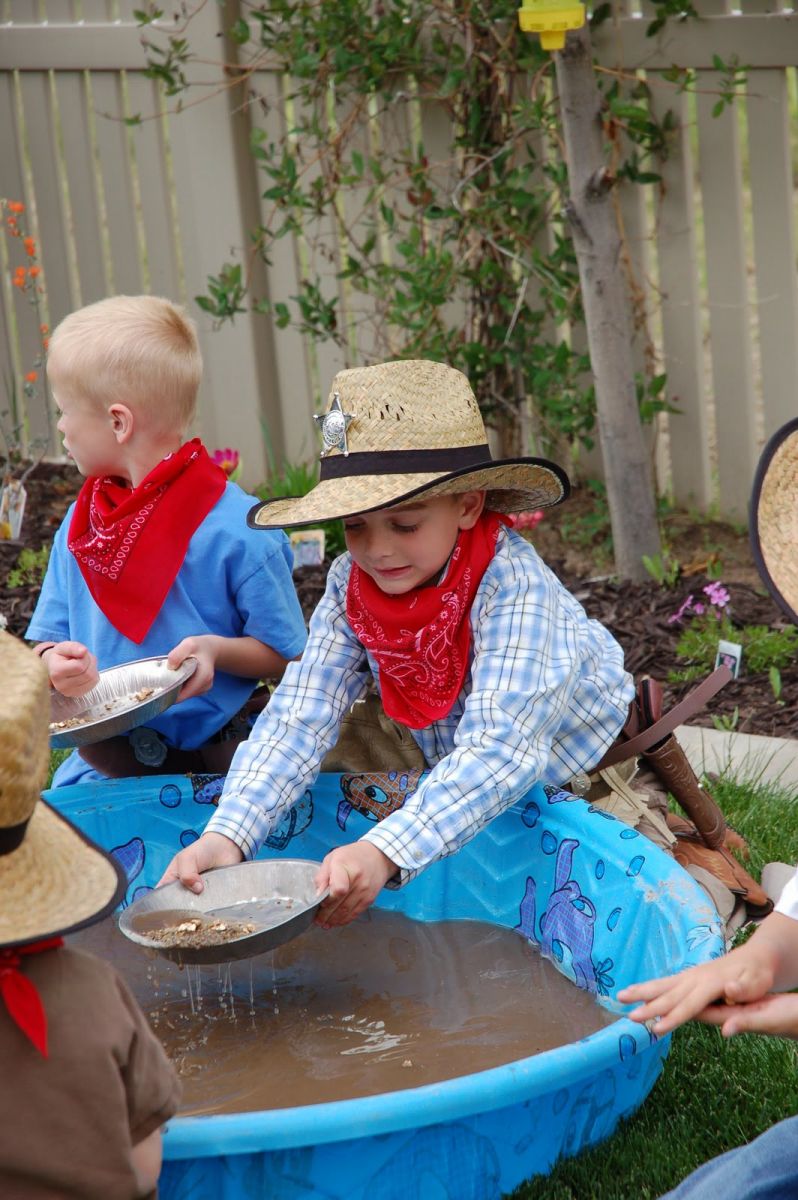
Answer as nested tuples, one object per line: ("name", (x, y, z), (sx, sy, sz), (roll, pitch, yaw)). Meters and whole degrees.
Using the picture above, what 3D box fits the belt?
("belt", (0.487, 0.231, 2.117), (0.332, 0.057, 0.191), (-37, 7, -10))

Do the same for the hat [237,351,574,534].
("hat", (0.007, -0.213, 1.920), (0.420, 0.183, 0.370), (-6, 2, -5))

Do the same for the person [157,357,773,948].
("person", (0.012, 0.029, 2.036), (1.013, 0.789, 0.655), (-12, 13, -32))
